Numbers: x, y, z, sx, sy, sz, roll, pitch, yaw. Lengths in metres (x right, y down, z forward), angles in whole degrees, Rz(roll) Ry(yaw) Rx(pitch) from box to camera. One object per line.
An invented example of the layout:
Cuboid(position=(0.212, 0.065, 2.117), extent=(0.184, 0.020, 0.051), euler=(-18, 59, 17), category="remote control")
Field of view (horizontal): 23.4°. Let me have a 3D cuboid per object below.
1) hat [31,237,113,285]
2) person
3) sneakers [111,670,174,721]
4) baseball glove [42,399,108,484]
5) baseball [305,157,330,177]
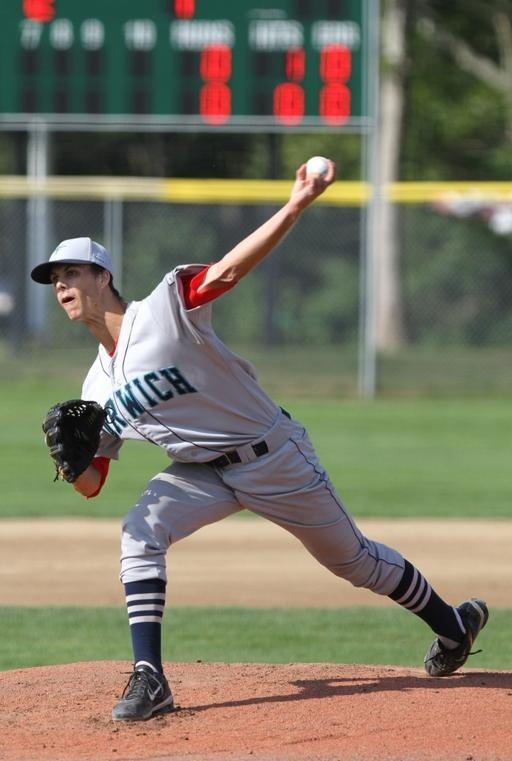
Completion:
Cuboid(position=(-0.607, -0.402, 4.084), extent=(0.222, 0.103, 0.163), euler=(5, -8, -26), category="hat")
Cuboid(position=(-0.025, 0.187, 4.028), extent=(1.316, 1.732, 0.655), euler=(0, 2, -9), category="person")
Cuboid(position=(-0.353, 0.974, 3.826), extent=(0.094, 0.122, 0.238), euler=(-5, 2, 27), category="sneakers")
Cuboid(position=(-0.635, 0.206, 4.174), extent=(0.115, 0.268, 0.221), euler=(3, 1, 37), category="baseball glove")
Cuboid(position=(0.194, -0.655, 3.829), extent=(0.077, 0.068, 0.040), euler=(4, -2, -7), category="baseball")
